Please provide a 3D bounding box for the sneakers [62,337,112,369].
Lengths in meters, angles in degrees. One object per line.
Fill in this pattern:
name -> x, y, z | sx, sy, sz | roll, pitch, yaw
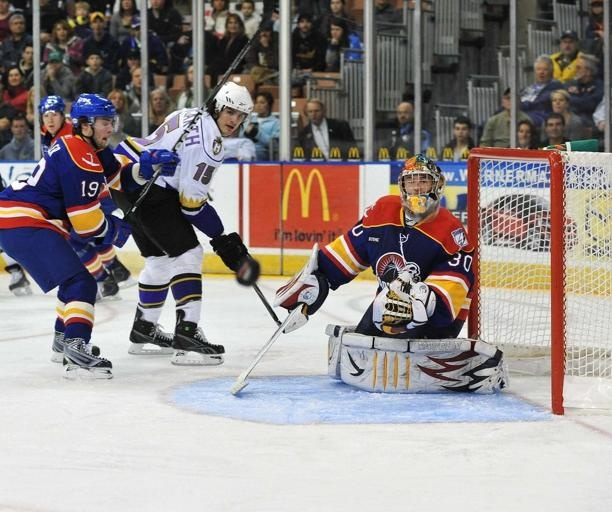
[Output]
sneakers -> -1.090, 0.471, 4.734 | 0.097, 0.143, 0.312 | 6, -1, 36

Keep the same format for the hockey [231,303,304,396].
hockey -> -0.193, 0.506, 5.160 | 0.059, 0.480, 0.052 | 32, -14, 48

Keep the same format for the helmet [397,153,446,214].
helmet -> 0.518, -0.331, 4.540 | 0.232, 0.266, 0.314 | -1, 1, 12

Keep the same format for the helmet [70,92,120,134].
helmet -> -1.045, -0.683, 4.927 | 0.240, 0.230, 0.183 | 1, 10, -7

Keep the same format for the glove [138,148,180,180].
glove -> -0.737, -0.464, 4.990 | 0.157, 0.070, 0.156 | 9, -36, -16

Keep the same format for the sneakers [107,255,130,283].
sneakers -> -1.443, 0.118, 7.693 | 0.085, 0.250, 0.108 | -45, -4, -5

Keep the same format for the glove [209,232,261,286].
glove -> -0.348, 0.019, 5.105 | 0.183, 0.310, 0.101 | -33, -16, 6

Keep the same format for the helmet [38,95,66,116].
helmet -> -1.670, -1.008, 6.568 | 0.133, 0.150, 0.156 | -5, -6, -20
